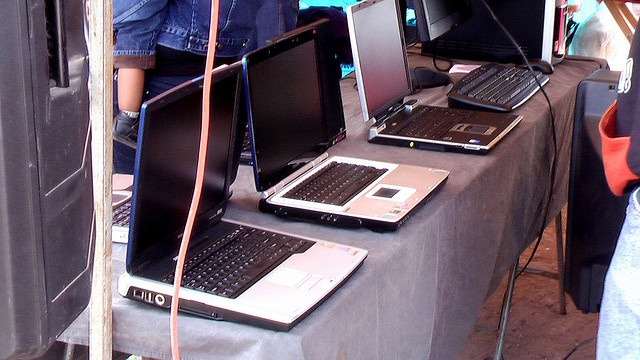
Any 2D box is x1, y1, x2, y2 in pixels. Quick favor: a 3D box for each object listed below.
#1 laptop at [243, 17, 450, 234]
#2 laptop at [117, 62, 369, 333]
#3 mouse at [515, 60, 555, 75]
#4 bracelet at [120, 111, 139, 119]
[{"bbox_3d":[0.109,-0.170,1.520,0.528,0.487,0.571,8,24,14],"label":"laptop"},{"bbox_3d":[-0.164,0.043,1.259,0.480,0.451,0.520,9,14,15],"label":"laptop"},{"bbox_3d":[1.066,-0.556,2.407,0.154,0.035,0.086,10,10,16],"label":"mouse"},{"bbox_3d":[-0.876,-0.305,2.247,0.041,0.023,0.052,3,15,3],"label":"bracelet"}]
